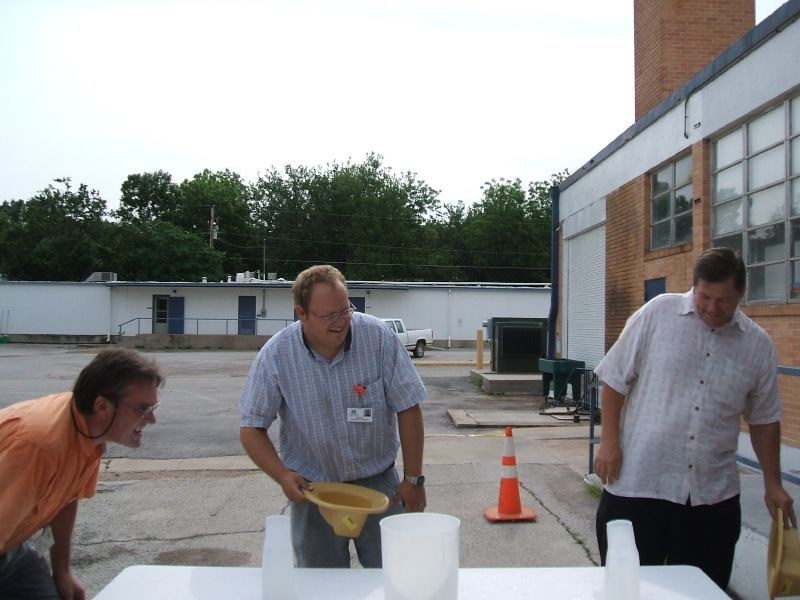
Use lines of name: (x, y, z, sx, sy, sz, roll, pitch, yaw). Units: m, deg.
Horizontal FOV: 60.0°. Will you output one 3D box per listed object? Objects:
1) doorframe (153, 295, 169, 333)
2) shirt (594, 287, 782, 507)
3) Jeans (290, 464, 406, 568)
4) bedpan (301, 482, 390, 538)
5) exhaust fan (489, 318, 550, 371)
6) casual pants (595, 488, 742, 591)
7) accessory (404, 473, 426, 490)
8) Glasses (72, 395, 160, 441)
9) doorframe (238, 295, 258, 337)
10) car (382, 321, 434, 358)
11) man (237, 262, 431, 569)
doorframe: (-11.284, 0.715, 32.763, 0.733, 2.078, 0.127, 2, -30, -22)
shirt: (1.638, 0.533, 3.855, 0.923, 1.208, 0.520, 9, 12, 18)
Jeans: (-0.320, 1.182, 3.971, 0.533, 0.422, 0.561, -3, -1, -2)
bedpan: (-0.275, 0.988, 3.280, 0.488, 0.197, 0.219, -1, 0, 39)
exhaust fan: (2.831, 0.872, 16.465, 1.309, 1.392, 1.134, -5, 21, -3)
casual pants: (1.499, 1.236, 3.949, 0.852, 0.716, 0.530, 0, -7, -1)
accessory: (0.075, 0.981, 3.797, 0.098, 0.069, 0.105, -11, -17, 42)
Glasses: (-1.383, 0.570, 3.416, 0.280, 0.177, 0.241, -5, -4, 7)
doorframe: (-7.219, 0.724, 32.636, 0.854, 2.231, 0.125, 0, 33, -14)
car: (0.461, 1.421, 26.011, 1.949, 0.870, 0.943, 5, -7, -42)
man: (-0.349, 1.054, 3.923, 0.905, 2.391, 0.944, -5, 14, -4)
